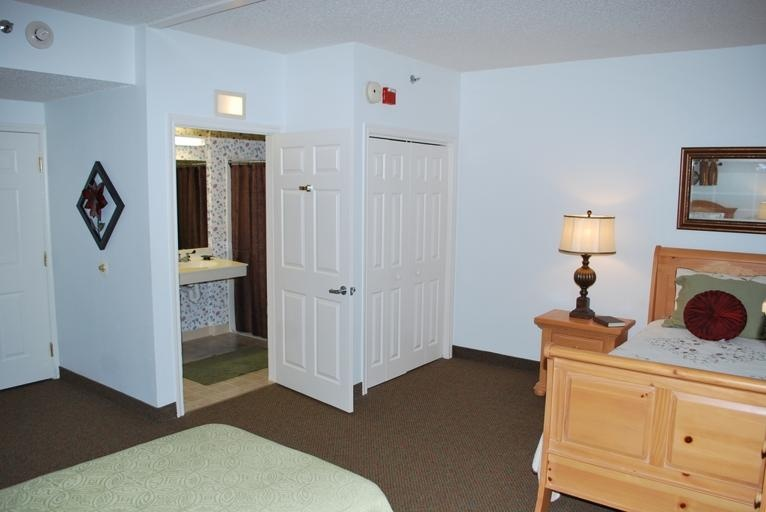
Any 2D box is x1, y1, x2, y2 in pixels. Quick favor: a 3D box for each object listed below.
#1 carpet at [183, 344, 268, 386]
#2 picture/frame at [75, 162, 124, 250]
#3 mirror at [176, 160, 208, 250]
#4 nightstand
[{"bbox_3d":[-1.895,1.339,6.462,1.127,0.037,0.824,-8,15,-42],"label":"carpet"},{"bbox_3d":[-2.881,-0.531,5.361,0.850,0.857,0.233,9,10,43],"label":"picture/frame"},{"bbox_3d":[-2.622,-0.692,7.191,0.419,1.159,0.206,1,12,-2],"label":"mirror"},{"bbox_3d":[1.815,0.857,4.700,0.870,0.873,0.596,6,8,36],"label":"nightstand"}]
